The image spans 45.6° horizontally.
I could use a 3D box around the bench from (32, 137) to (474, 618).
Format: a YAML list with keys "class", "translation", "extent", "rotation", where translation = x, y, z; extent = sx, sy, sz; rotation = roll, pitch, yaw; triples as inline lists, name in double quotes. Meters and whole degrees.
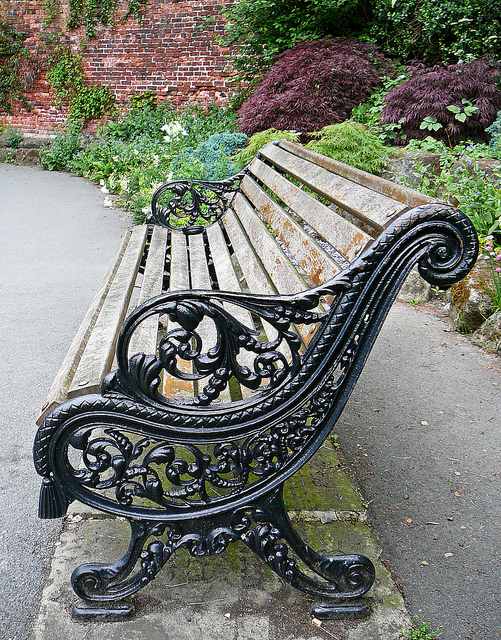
- class: "bench"
  translation: [-0.134, -0.144, 3.012]
  extent: [1.380, 1.255, 2.710]
  rotation: [-6, 21, -5]
